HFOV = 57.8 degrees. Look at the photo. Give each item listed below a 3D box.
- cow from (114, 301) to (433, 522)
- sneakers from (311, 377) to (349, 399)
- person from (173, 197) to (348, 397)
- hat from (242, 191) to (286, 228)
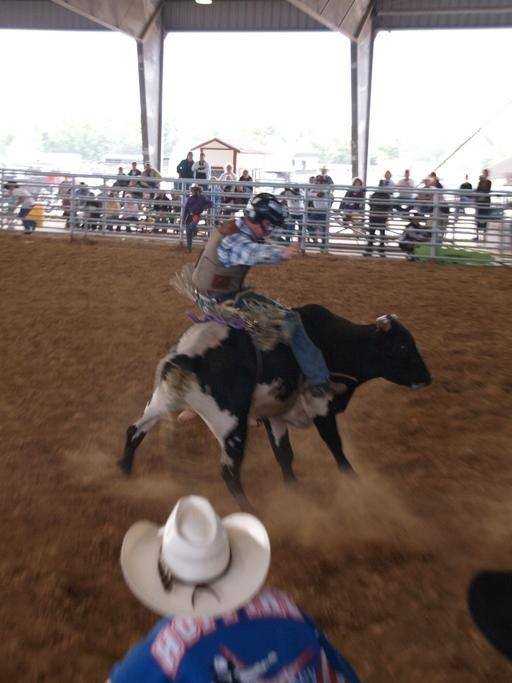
[{"bbox_3d":[0.403,0.086,2.529,2.145,1.144,0.619,-8,19,-23],"label":"cow"},{"bbox_3d":[0.336,0.210,2.109,0.153,0.052,0.086,3,-8,8],"label":"sneakers"},{"bbox_3d":[-0.003,-0.211,2.086,0.472,0.880,0.622,-9,18,-37],"label":"person"},{"bbox_3d":[0.038,-0.582,2.052,0.192,0.142,0.110,4,15,6],"label":"hat"}]
